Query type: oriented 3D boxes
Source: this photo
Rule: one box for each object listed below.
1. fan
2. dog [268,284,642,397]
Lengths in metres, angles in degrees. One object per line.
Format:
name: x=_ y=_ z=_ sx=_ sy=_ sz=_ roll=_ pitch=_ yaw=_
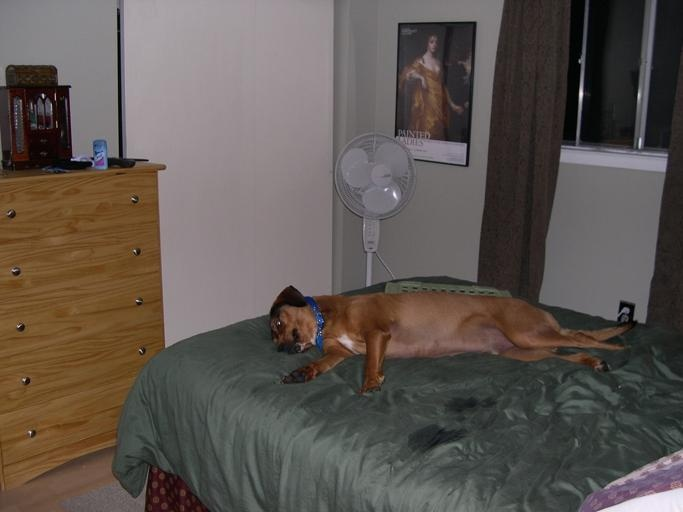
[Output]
fan: x=0.256 y=-0.325 z=4.084 sx=0.600 sy=1.218 sz=0.258 roll=-1 pitch=14 yaw=-1
dog: x=0.491 y=0.424 z=2.647 sx=1.672 sy=0.583 sz=0.426 roll=-2 pitch=-22 yaw=5
